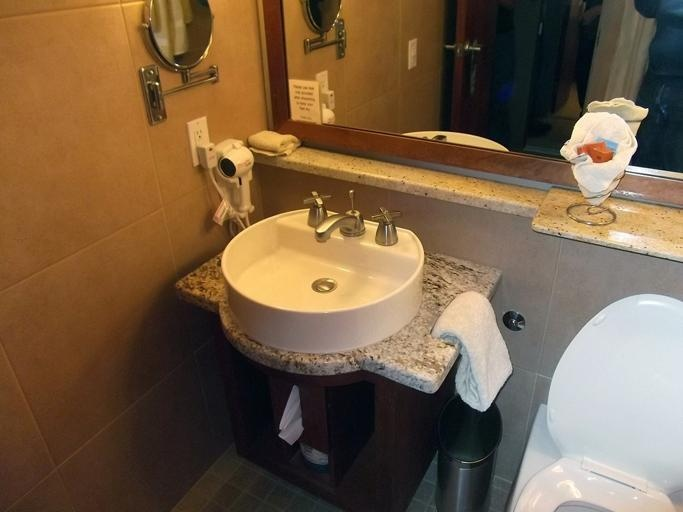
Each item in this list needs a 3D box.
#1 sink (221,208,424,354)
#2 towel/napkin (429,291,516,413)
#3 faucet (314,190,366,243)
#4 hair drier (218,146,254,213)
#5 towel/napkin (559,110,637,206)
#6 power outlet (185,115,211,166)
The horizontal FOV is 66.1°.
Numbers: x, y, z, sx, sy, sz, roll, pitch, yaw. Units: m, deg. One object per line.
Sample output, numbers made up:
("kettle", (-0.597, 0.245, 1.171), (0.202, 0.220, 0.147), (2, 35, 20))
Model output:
("sink", (-0.062, 0.063, 1.624), (0.616, 0.183, 0.499), (9, 34, 11))
("towel/napkin", (0.403, 0.277, 1.597), (0.185, 0.352, 0.266), (10, 36, 37))
("faucet", (0.007, -0.104, 1.649), (0.073, 0.147, 0.233), (9, 34, 26))
("hair drier", (-0.367, -0.253, 1.838), (0.120, 0.245, 0.093), (-10, 33, -17))
("towel/napkin", (0.717, -0.266, 1.458), (0.193, 0.244, 0.160), (8, 32, 12))
("power outlet", (-0.464, -0.377, 1.751), (0.046, 0.157, 0.090), (20, 36, 29))
